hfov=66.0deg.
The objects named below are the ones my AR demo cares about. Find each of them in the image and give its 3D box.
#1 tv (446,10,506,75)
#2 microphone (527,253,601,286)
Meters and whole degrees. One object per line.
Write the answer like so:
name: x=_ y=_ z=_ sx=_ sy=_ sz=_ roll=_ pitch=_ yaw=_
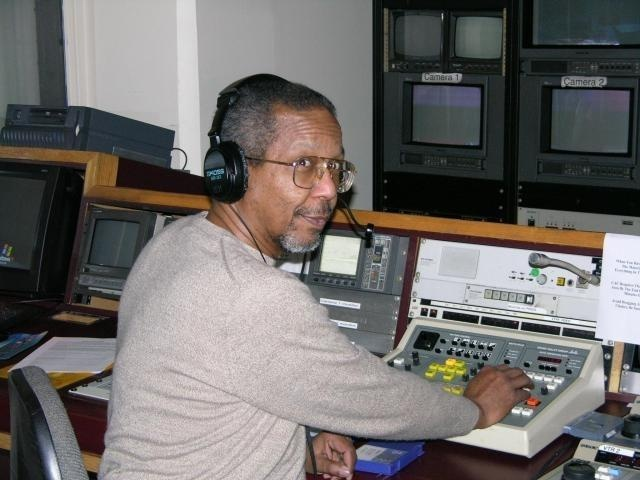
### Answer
tv: x=1.040 y=-1.306 z=3.226 sx=0.436 sy=0.406 sz=0.231 roll=4 pitch=8 yaw=25
microphone: x=0.683 y=0.079 z=1.362 sx=0.133 sy=0.033 sz=0.036 roll=24 pitch=49 yaw=6
